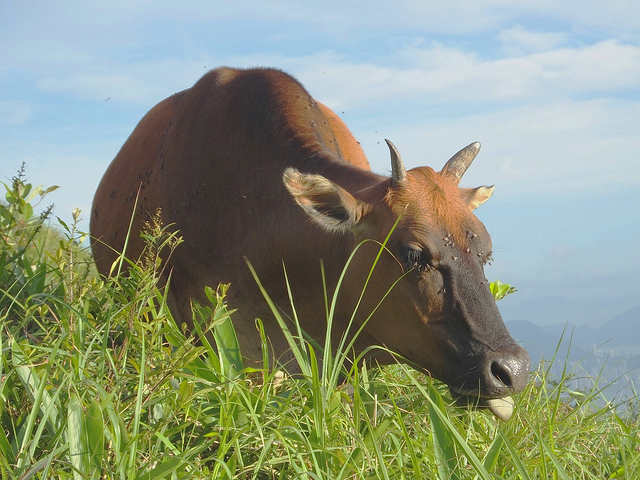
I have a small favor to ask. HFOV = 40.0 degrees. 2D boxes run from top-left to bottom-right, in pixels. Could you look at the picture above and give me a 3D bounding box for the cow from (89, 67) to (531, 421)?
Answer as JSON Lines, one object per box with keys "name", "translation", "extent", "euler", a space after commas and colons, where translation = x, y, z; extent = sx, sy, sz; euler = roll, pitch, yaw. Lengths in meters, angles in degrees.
{"name": "cow", "translation": [-0.153, -0.163, 5.483], "extent": [3.126, 2.073, 0.934], "euler": [3, 4, 44]}
